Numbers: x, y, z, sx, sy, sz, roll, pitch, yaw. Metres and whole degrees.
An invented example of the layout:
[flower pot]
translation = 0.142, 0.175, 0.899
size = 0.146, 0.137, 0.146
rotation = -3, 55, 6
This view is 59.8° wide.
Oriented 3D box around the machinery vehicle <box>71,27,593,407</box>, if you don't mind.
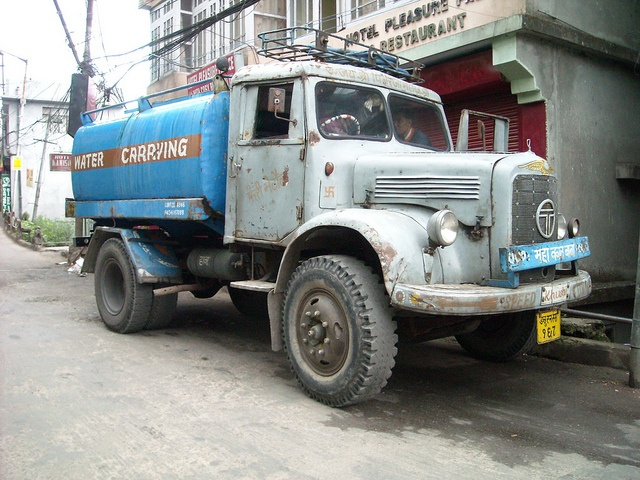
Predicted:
[machinery vehicle]
translation = 0.218, -0.166, 6.764
size = 2.052, 2.581, 4.849
rotation = -3, 5, -43
